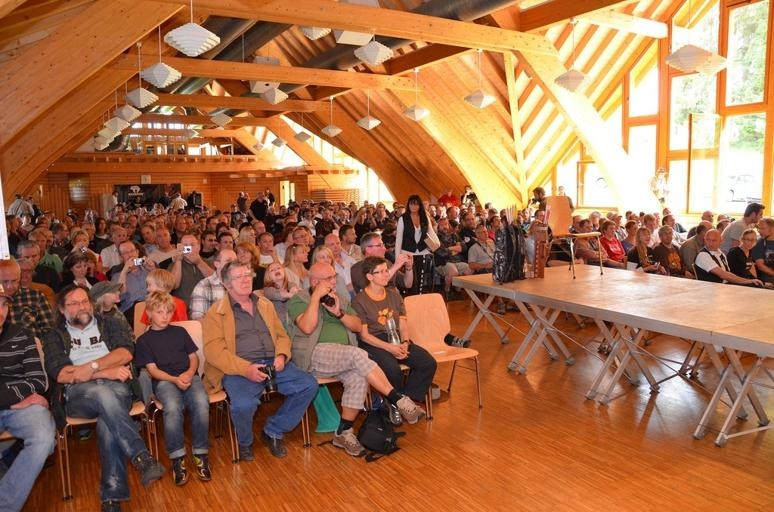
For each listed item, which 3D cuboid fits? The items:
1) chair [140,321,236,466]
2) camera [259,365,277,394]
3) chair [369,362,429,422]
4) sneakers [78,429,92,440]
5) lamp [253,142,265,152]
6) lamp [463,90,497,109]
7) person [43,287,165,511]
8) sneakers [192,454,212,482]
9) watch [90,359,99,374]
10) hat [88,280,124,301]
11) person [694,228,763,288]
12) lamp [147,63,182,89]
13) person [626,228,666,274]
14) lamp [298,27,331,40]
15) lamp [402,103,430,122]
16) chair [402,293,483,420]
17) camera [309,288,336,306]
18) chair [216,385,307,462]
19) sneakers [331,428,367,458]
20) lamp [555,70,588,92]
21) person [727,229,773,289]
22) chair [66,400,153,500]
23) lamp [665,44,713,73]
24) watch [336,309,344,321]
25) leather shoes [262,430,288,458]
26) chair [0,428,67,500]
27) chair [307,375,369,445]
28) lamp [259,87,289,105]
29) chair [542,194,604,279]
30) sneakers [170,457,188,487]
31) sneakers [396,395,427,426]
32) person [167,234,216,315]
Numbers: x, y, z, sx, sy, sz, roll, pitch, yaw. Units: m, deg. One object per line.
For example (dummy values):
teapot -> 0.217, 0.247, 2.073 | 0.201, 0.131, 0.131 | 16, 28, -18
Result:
chair -> -1.523, 1.248, 4.917 | 0.502, 0.908, 0.595 | -18, 2, 10
camera -> -0.958, 1.014, 4.516 | 0.087, 0.216, 0.134 | -5, -9, -38
chair -> 0.097, 1.290, 4.853 | 0.665, 0.324, 0.222 | -6, -28, 39
sneakers -> -2.787, 1.651, 5.088 | 0.067, 0.038, 0.109 | -1, 7, -25
lamp -> -5.205, -4.331, 21.982 | 0.547, 0.257, 0.568 | 4, 22, 27
lamp -> 1.923, -3.011, 10.495 | 0.663, 0.317, 0.659 | -22, 30, -37
person -> -2.271, 1.096, 4.402 | 0.698, 1.039, 2.019 | -4, 50, -34
sneakers -> -1.477, 1.683, 4.453 | 0.091, 0.116, 0.261 | -2, 34, -46
watch -> -2.296, 0.876, 4.333 | 0.049, 0.083, 0.082 | 19, -34, -15
hat -> -2.421, 0.294, 4.720 | 0.250, 0.102, 0.172 | -14, 12, -12
person -> 4.310, 0.117, 6.899 | 0.453, 0.859, 0.801 | 6, -6, -24
lamp -> -3.275, -2.639, 8.113 | 0.514, 0.400, 0.522 | -3, 12, -16
person -> 3.606, -0.010, 7.593 | 0.506, 0.800, 0.478 | -4, -4, 23
lamp -> -1.081, -3.467, 8.528 | 0.433, 0.157, 0.281 | 8, 16, 37
lamp -> 0.674, -3.173, 12.216 | 0.486, 0.562, 0.582 | 2, 15, 14
chair -> 0.526, 0.929, 5.190 | 0.576, 1.031, 0.706 | -4, 5, -14
camera -> -0.529, 0.367, 4.821 | 0.072, 0.121, 0.195 | -38, 16, -9
chair -> -1.017, 1.343, 4.782 | 0.684, 0.788, 0.630 | 7, -10, -25
sneakers -> -0.320, 1.600, 4.702 | 0.293, 0.144, 0.147 | 7, 8, 41
lamp -> 2.937, -2.759, 8.645 | 0.371, 0.152, 0.387 | -2, 25, 3
person -> 4.666, 0.017, 7.150 | 0.483, 0.820, 0.733 | -5, 6, -39
chair -> -2.224, 1.525, 4.475 | 0.676, 0.682, 0.534 | -1, -1, -29
lamp -> 4.010, -2.645, 7.252 | 0.420, 0.351, 0.416 | -2, 1, -37
watch -> -0.406, 0.529, 4.854 | 0.054, 0.083, 0.076 | 1, 18, -18
leather shoes -> -0.959, 1.624, 4.779 | 0.270, 0.121, 0.116 | 22, 16, 39
chair -> -2.654, 1.564, 4.118 | 0.379, 0.432, 0.550 | 5, -7, -45
chair -> -0.455, 1.540, 5.290 | 0.397, 0.728, 0.475 | -6, -9, 17
lamp -> -2.527, -3.600, 12.343 | 0.486, 0.339, 0.525 | -6, 14, -19
chair -> 2.489, -0.255, 6.990 | 0.478, 0.856, 0.466 | -3, -1, 21
sneakers -> -1.637, 1.714, 4.363 | 0.089, 0.115, 0.256 | -4, 18, -22
sneakers -> 0.174, 1.347, 4.859 | 0.164, 0.183, 0.407 | -13, 6, -36
person -> -2.109, 0.364, 5.998 | 0.443, 1.212, 0.346 | -6, 21, -33
